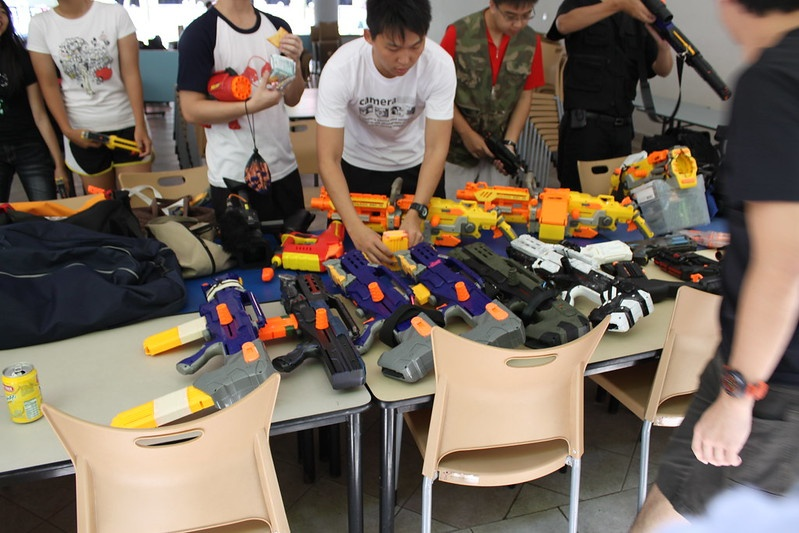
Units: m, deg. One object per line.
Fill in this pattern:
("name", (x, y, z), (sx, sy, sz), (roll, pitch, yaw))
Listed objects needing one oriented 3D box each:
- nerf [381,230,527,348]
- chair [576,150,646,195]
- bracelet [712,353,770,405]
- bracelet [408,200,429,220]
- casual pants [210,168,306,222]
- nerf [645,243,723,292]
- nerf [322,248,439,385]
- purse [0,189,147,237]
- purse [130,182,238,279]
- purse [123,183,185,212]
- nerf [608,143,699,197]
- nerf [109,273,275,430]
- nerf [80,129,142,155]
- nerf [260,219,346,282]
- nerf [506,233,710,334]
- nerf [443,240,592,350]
("nerf", (0.190, 0.119, 2.217), (0.637, 0.255, 0.167), (40, 21, -18))
("chair", (1.183, -0.524, 3.185), (0.204, 0.346, 0.253), (-6, 64, 3))
("bracelet", (0.902, 0.327, 1.555), (0.158, 0.093, 0.126), (19, -6, 3))
("bracelet", (0.088, -0.259, 2.557), (0.086, 0.059, 0.086), (34, -14, -27))
("casual pants", (-0.724, -0.357, 2.899), (0.452, 0.182, 0.263), (-10, 22, -32))
("nerf", (1.325, -0.014, 2.574), (0.391, 0.116, 0.337), (13, 22, 14))
("nerf", (-0.095, 0.145, 2.191), (0.340, 0.226, 0.606), (-31, 66, -34))
("purse", (-1.341, -0.211, 2.366), (0.328, 0.129, 0.269), (-1, 16, -33))
("purse", (-0.989, -0.197, 2.538), (0.584, 0.230, 0.370), (46, 30, 24))
("purse", (-1.268, -0.363, 2.841), (0.196, 0.099, 0.306), (-11, 28, -34))
("nerf", (1.276, -0.479, 2.911), (0.198, 0.234, 0.518), (-4, 1, -13))
("nerf", (-0.741, 0.287, 2.093), (0.245, 0.610, 0.418), (29, 33, 36))
("nerf", (-1.759, -0.751, 3.396), (0.342, 0.068, 0.101), (13, -10, -40))
("nerf", (-0.406, -0.071, 2.477), (0.223, 0.072, 0.315), (0, 33, -1))
("nerf", (0.808, 0.035, 2.350), (0.504, 0.211, 0.457), (28, 33, 14))
("nerf", (0.476, 0.119, 2.221), (0.279, 0.180, 0.473), (5, 29, -38))
